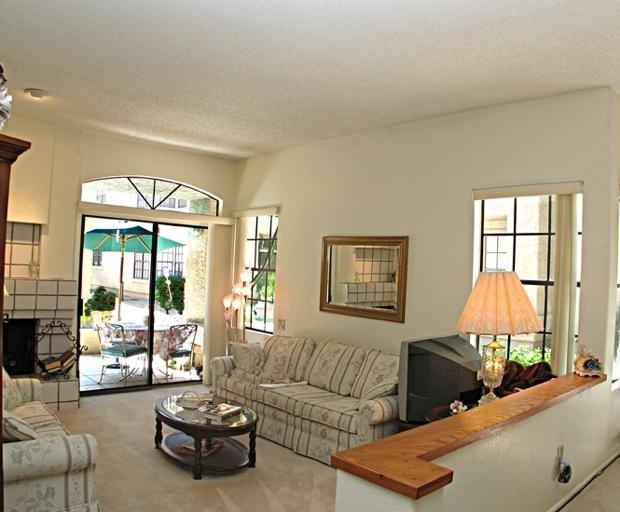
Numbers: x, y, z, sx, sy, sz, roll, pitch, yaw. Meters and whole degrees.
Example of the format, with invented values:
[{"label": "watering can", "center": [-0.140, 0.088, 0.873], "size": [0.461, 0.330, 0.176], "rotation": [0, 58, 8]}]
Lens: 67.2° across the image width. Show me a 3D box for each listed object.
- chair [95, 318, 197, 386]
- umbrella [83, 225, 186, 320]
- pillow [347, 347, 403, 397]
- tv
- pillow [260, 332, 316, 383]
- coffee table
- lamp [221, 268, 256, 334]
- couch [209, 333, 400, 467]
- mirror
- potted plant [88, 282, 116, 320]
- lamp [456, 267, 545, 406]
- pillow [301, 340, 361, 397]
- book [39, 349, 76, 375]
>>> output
[{"label": "chair", "center": [-2.359, 1.360, 6.740], "size": [1.125, 0.561, 1.064], "rotation": [1, -4, 30]}, {"label": "umbrella", "center": [-2.702, 0.017, 6.799], "size": [1.030, 0.798, 0.903], "rotation": [10, 2, -25]}, {"label": "pillow", "center": [0.633, 1.158, 4.708], "size": [0.509, 0.461, 0.149], "rotation": [-6, -38, 48]}, {"label": "tv", "center": [1.048, 0.914, 3.562], "size": [0.739, 0.546, 0.549], "rotation": [3, -5, -45]}, {"label": "pillow", "center": [-0.275, 1.243, 5.644], "size": [0.556, 0.473, 0.141], "rotation": [2, -24, 39]}, {"label": "coffee table", "center": [-0.879, 1.660, 4.511], "size": [0.856, 0.429, 1.201], "rotation": [7, 2, 36]}, {"label": "lamp", "center": [-1.052, 0.684, 6.899], "size": [0.429, 0.740, 0.662], "rotation": [3, 1, -7]}, {"label": "couch", "center": [-0.026, 1.494, 5.144], "size": [0.973, 0.955, 2.672], "rotation": [7, -6, -42]}, {"label": "mirror", "center": [0.577, 0.237, 5.441], "size": [0.048, 0.926, 1.420], "rotation": [2, 0, -37]}, {"label": "potted plant", "center": [-2.877, 0.627, 6.410], "size": [0.427, 0.398, 0.364], "rotation": [4, 10, -14]}, {"label": "lamp", "center": [1.107, 0.503, 2.777], "size": [0.418, 0.784, 0.409], "rotation": [4, 1, 40]}, {"label": "pillow", "center": [0.254, 1.221, 5.131], "size": [0.140, 0.461, 0.592], "rotation": [29, -14, -37]}, {"label": "book", "center": [-3.007, 1.280, 5.619], "size": [0.418, 0.252, 0.261], "rotation": [5, -1, -36]}]
